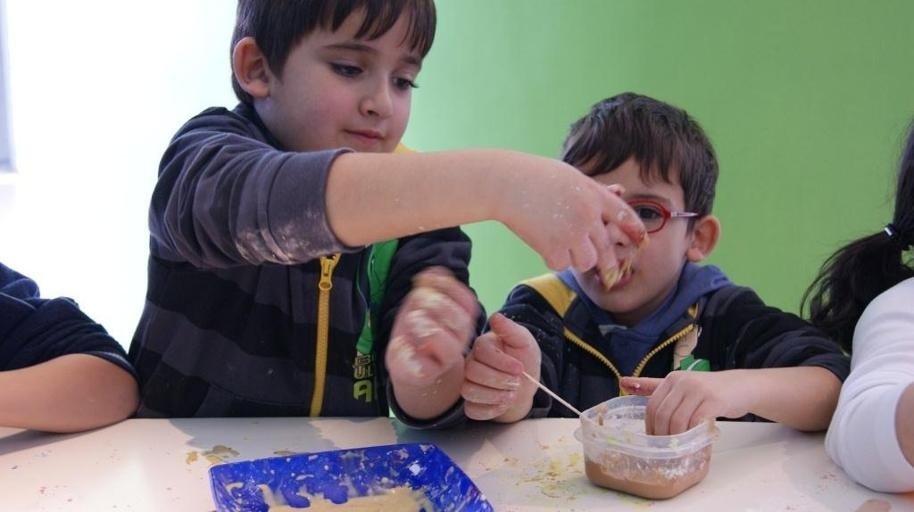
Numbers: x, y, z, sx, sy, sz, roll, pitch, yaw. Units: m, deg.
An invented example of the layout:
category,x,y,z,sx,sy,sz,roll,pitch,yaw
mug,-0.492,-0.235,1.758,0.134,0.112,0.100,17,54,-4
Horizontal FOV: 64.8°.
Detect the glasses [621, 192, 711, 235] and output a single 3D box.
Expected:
category,x,y,z,sx,sy,sz,roll,pitch,yaw
glasses,0.673,-0.113,2.400,0.185,0.073,0.162,6,-12,-35
